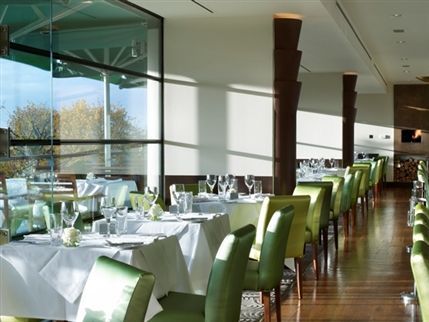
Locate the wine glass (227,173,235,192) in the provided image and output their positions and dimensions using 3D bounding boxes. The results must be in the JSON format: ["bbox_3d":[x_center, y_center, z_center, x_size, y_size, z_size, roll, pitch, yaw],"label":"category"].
[{"bbox_3d":[0.230,0.291,5.312,0.103,0.196,0.228,1,3,1],"label":"wine glass"}]

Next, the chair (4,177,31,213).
[{"bbox_3d":[-2.167,0.379,4.402,0.200,0.436,0.263,1,6,14],"label":"chair"}]

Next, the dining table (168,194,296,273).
[{"bbox_3d":[0.151,0.681,3.586,0.786,0.560,0.932,0,-4,9],"label":"dining table"}]

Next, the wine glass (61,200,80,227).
[{"bbox_3d":[-1.101,0.405,2.911,0.119,0.213,0.119,-1,3,-25],"label":"wine glass"}]

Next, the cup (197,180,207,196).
[{"bbox_3d":[-0.160,0.356,4.983,0.079,0.188,0.051,0,3,-16],"label":"cup"}]
